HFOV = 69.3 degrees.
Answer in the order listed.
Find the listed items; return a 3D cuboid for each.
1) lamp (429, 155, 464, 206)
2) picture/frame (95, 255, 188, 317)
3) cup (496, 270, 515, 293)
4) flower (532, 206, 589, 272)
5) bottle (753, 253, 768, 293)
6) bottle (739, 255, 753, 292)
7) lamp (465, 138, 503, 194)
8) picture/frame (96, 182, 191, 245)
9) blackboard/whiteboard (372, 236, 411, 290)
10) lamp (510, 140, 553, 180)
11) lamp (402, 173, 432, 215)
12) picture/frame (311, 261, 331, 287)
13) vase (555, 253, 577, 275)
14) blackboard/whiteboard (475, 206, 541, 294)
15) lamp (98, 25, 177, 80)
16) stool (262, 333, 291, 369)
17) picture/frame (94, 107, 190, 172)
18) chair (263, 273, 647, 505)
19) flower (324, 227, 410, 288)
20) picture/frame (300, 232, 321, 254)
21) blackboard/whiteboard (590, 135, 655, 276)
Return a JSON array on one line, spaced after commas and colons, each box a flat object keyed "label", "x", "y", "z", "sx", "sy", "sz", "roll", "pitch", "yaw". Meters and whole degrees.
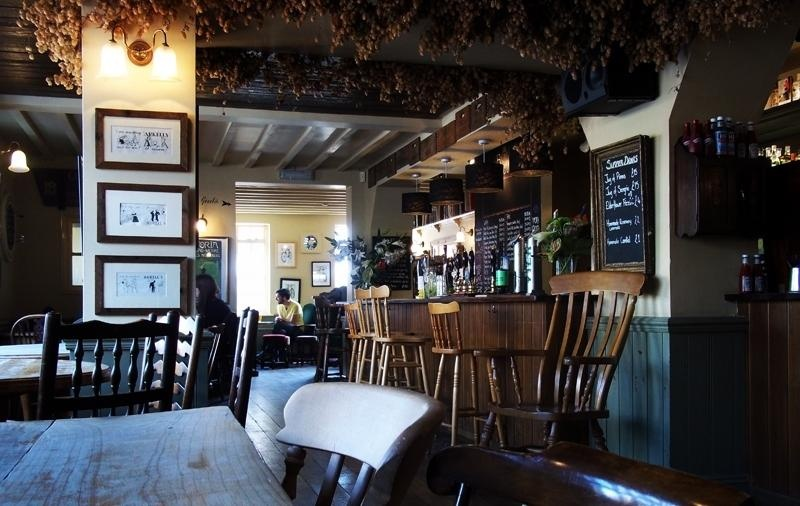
[{"label": "lamp", "x": 0.662, "y": -0.928, "z": 7.978, "sx": 0.586, "sy": 0.870, "sz": 0.617, "roll": 0, "pitch": -3, "yaw": 7}, {"label": "picture/frame", "x": -1.894, "y": 0.239, "z": 4.165, "sx": 0.437, "sy": 0.321, "sz": 0.057, "roll": 1, "pitch": 1, "yaw": -17}, {"label": "cup", "x": 0.913, "y": 0.253, "z": 5.021, "sx": 0.173, "sy": 0.292, "sz": 0.184, "roll": 0, "pitch": -3, "yaw": 0}, {"label": "flower", "x": 1.298, "y": -0.090, "z": 4.614, "sx": 0.477, "sy": 0.487, "sz": 0.479, "roll": 1, "pitch": -6, "yaw": -18}, {"label": "bottle", "x": 2.554, "y": 0.145, "z": 4.102, "sx": 0.077, "sy": 0.266, "sz": 0.198, "roll": -3, "pitch": -5, "yaw": 34}, {"label": "bottle", "x": 2.453, "y": 0.146, "z": 4.094, "sx": 0.079, "sy": 0.270, "sz": 0.097, "roll": -3, "pitch": -5, "yaw": 29}, {"label": "lamp", "x": 1.023, "y": -1.063, "z": 7.134, "sx": 0.414, "sy": 0.726, "sz": 0.964, "roll": -1, "pitch": -5, "yaw": 7}, {"label": "picture/frame", "x": -1.893, "y": -0.291, "z": 4.197, "sx": 0.453, "sy": 0.333, "sz": 0.038, "roll": 1, "pitch": -3, "yaw": -14}, {"label": "blackboard/whiteboard", "x": -0.169, "y": 0.175, "z": 10.008, "sx": 0.883, "sy": 1.177, "sz": 0.112, "roll": -2, "pitch": 6, "yaw": -26}, {"label": "lamp", "x": 1.376, "y": -0.928, "z": 5.877, "sx": 0.483, "sy": 0.374, "sz": 0.483, "roll": 1, "pitch": 2, "yaw": -16}, {"label": "lamp", "x": 0.263, "y": -0.787, "z": 8.693, "sx": 0.378, "sy": 0.440, "sz": 0.381, "roll": 0, "pitch": 4, "yaw": -16}, {"label": "picture/frame", "x": -2.227, "y": 0.604, "z": 16.163, "sx": 0.691, "sy": 0.896, "sz": 0.059, "roll": 1, "pitch": -5, "yaw": -21}, {"label": "vase", "x": 1.286, "y": 0.092, "z": 4.500, "sx": 0.152, "sy": 0.259, "sz": 0.163, "roll": 1, "pitch": 0, "yaw": 40}, {"label": "blackboard/whiteboard", "x": 1.250, "y": -0.070, "z": 6.643, "sx": 0.050, "sy": 1.106, "sz": 1.086, "roll": 4, "pitch": -10, "yaw": -18}, {"label": "lamp", "x": -1.851, "y": -1.389, "z": 4.036, "sx": 0.420, "sy": 0.266, "sz": 0.221, "roll": 4, "pitch": 8, "yaw": 16}, {"label": "stool", "x": -2.412, "y": 1.926, "z": 11.353, "sx": 0.610, "sy": 0.777, "sz": 0.611, "roll": 3, "pitch": -3, "yaw": 12}, {"label": "picture/frame", "x": -1.896, "y": -0.816, "z": 4.182, "sx": 0.475, "sy": 0.347, "sz": 0.038, "roll": 1, "pitch": -3, "yaw": -16}, {"label": "chair", "x": 0.650, "y": 0.785, "z": 3.935, "sx": 2.144, "sy": 1.495, "sz": 1.182, "roll": 4, "pitch": -7, "yaw": -16}, {"label": "flower", "x": -0.453, "y": 0.087, "z": 10.622, "sx": 1.354, "sy": 0.965, "sz": 0.918, "roll": 2, "pitch": 7, "yaw": -6}, {"label": "picture/frame", "x": -2.521, "y": -0.274, "z": 16.090, "sx": 0.559, "sy": 0.656, "sz": 0.071, "roll": 1, "pitch": 5, "yaw": -6}, {"label": "blackboard/whiteboard", "x": 1.676, "y": -0.329, "z": 4.377, "sx": 0.124, "sy": 1.012, "sz": 0.535, "roll": 2, "pitch": -5, "yaw": -27}]
